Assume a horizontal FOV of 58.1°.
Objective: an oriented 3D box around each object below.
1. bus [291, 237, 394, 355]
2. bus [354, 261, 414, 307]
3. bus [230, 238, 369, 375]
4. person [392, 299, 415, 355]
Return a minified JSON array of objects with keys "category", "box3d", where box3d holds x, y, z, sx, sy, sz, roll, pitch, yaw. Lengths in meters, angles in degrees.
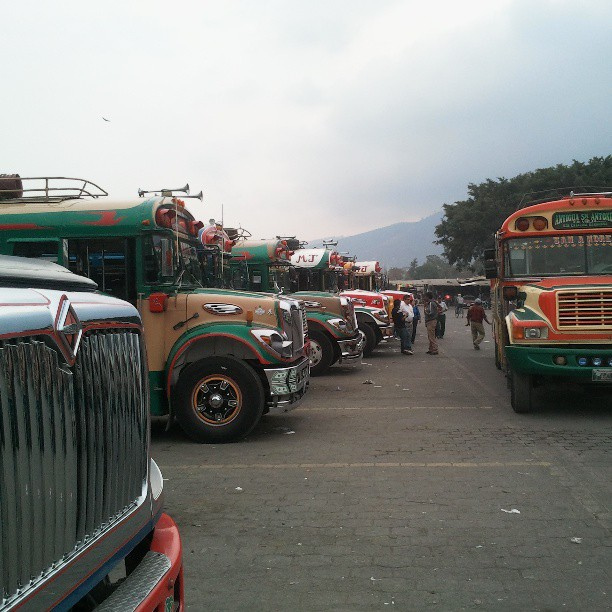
[{"category":"bus","box3d":[1.931,-0.537,21.618,3.338,1.979,1.883,16,8,13]},{"category":"bus","box3d":[3.589,-1.089,28.447,1.420,2.238,4.460,-11,6,-14]},{"category":"bus","box3d":[0.100,-0.018,13.872,5.166,2.773,1.889,-1,5,14]},{"category":"person","box3d":[3.328,0.724,19.158,0.675,1.872,0.521,-1,0,-7]}]
